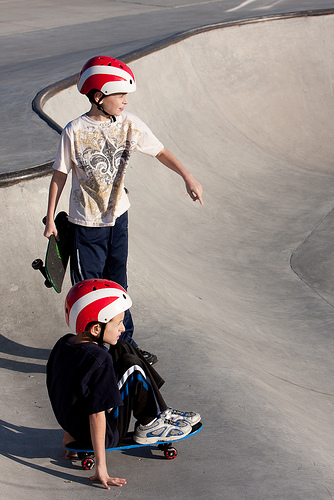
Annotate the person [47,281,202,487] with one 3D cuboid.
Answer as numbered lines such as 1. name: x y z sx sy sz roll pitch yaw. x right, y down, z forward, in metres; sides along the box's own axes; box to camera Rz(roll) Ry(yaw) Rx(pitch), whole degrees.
1. person: -0.190 0.585 2.850 0.807 0.797 0.536 1 -1 -31

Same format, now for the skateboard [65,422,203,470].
1. skateboard: -0.111 0.999 2.901 0.864 0.132 0.197 -4 7 -17

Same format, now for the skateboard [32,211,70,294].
1. skateboard: -0.693 -0.013 3.485 0.110 0.164 0.584 -10 52 31

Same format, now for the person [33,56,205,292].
1. person: -0.434 -0.415 3.456 0.874 1.462 0.470 -16 40 -44
